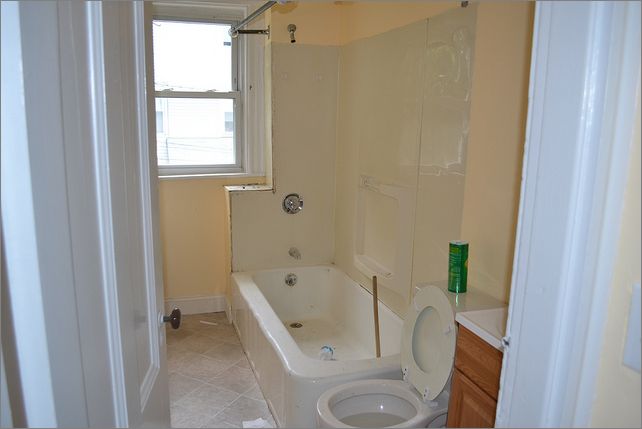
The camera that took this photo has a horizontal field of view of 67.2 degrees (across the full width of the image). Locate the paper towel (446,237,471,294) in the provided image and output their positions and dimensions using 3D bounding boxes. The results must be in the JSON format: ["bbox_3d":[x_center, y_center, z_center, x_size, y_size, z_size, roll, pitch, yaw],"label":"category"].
[{"bbox_3d":[0.609,0.238,2.158,0.125,0.224,0.129,-1,8,-7],"label":"paper towel"}]
